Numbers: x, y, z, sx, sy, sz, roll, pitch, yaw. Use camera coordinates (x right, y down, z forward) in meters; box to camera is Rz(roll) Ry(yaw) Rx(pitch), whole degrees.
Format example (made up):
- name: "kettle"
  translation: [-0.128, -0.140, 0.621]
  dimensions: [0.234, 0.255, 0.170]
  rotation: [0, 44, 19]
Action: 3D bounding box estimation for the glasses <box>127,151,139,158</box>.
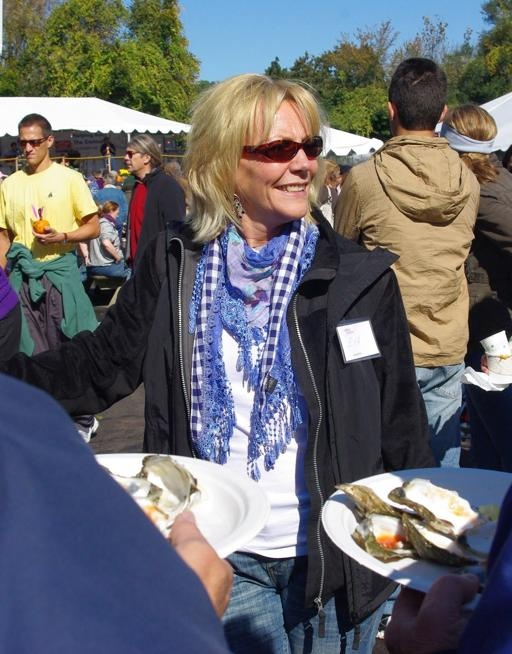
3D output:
- name: "glasses"
  translation: [-1.279, -1.782, 7.365]
  dimensions: [0.091, 0.028, 0.097]
  rotation: [7, 10, 44]
